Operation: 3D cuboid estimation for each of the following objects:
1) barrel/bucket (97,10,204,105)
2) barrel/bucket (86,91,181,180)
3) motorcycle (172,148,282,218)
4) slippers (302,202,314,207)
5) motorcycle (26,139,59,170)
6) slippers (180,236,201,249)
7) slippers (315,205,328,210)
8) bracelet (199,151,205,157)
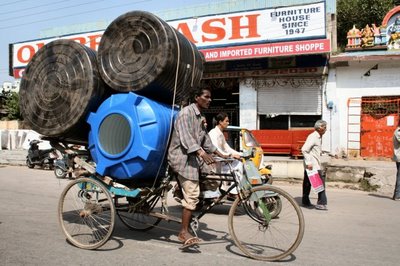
[{"bbox_3d":[-0.844,-1.522,7.795,1.504,1.593,2.064,-34,-11,28],"label":"barrel/bucket"},{"bbox_3d":[-1.161,-0.059,7.651,1.551,1.691,1.876,6,0,28],"label":"barrel/bucket"},{"bbox_3d":[0.664,1.184,7.698,2.622,1.586,1.320,-3,-4,15],"label":"motorcycle"},{"bbox_3d":[2.956,1.960,9.784,0.295,0.107,0.114,-2,3,-3],"label":"slippers"},{"bbox_3d":[-6.904,0.974,15.668,1.997,1.342,0.648,2,-2,39],"label":"motorcycle"},{"bbox_3d":[-0.162,2.083,6.789,0.414,0.102,0.196,-20,-9,17],"label":"slippers"},{"bbox_3d":[3.219,1.982,9.483,0.237,0.073,0.142,0,2,24],"label":"slippers"},{"bbox_3d":[0.040,0.396,6.717,0.039,0.091,0.091,35,11,-16],"label":"bracelet"}]
